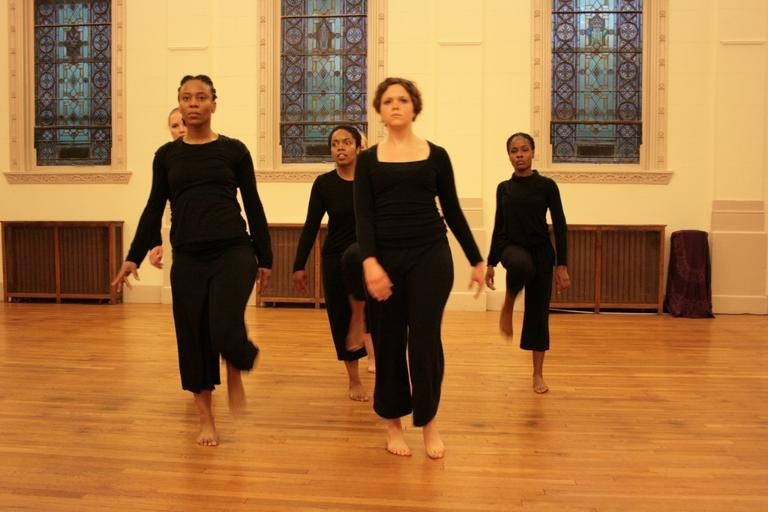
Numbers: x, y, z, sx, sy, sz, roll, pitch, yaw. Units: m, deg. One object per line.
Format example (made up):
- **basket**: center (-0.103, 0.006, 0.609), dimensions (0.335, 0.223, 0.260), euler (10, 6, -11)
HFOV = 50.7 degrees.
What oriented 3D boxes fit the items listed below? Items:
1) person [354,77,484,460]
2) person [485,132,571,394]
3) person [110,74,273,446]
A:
- **person**: center (0.221, -0.018, 6.572), dimensions (0.917, 2.783, 0.356), euler (-1, 7, -2)
- **person**: center (1.355, 0.072, 7.758), dimensions (0.777, 2.447, 0.512), euler (0, 7, 7)
- **person**: center (-1.538, 0.256, 6.880), dimensions (1.044, 2.629, 0.529), euler (0, 7, 14)
